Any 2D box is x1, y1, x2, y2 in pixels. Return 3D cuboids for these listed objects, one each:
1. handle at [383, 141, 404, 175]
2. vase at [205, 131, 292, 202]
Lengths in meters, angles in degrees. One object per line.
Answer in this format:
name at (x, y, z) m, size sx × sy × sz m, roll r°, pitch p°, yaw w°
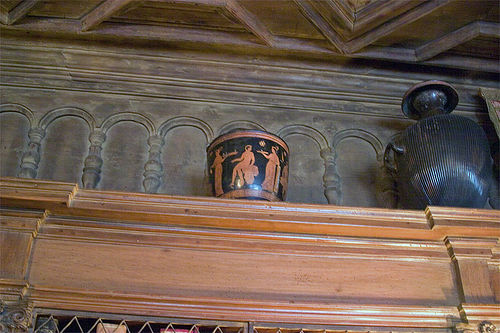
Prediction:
handle at (0.914, -0.058, 9.101) m, size 0.160 × 0.173 × 0.081 m, roll -5°, pitch 1°, yaw -35°
vase at (0.037, 0.065, 8.827) m, size 0.648 × 0.353 × 0.534 m, roll 2°, pitch -15°, yaw 1°
